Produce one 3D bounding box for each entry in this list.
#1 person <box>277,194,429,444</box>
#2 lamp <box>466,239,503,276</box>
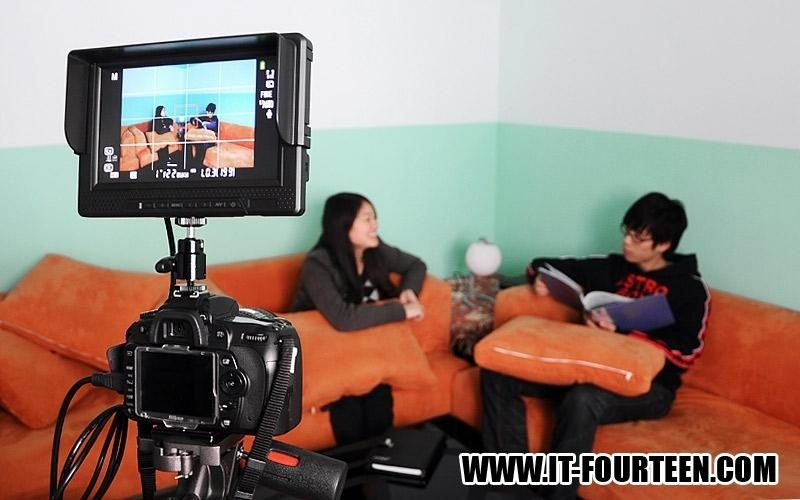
[{"bbox_3d":[-0.276,0.369,3.513,0.842,1.334,0.842,-1,2,39],"label":"person"},{"bbox_3d":[0.457,0.024,3.695,0.217,0.239,0.210,-2,17,-7],"label":"lamp"}]
